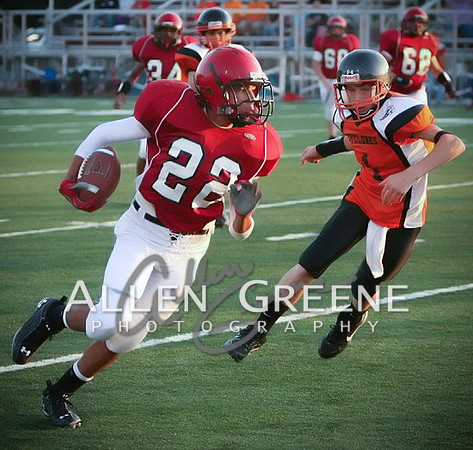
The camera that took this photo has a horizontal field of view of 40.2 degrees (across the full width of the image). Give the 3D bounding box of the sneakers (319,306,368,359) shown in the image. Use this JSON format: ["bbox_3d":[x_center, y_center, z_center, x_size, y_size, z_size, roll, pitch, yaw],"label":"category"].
[{"bbox_3d":[0.549,0.548,3.268,0.343,0.123,0.102,-34,70,-18],"label":"sneakers"}]

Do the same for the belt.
[{"bbox_3d":[-0.276,-0.070,2.592,0.180,0.183,0.042,-22,76,-39],"label":"belt"}]

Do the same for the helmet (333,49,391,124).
[{"bbox_3d":[0.577,-0.649,3.001,0.263,0.336,0.219,18,16,25],"label":"helmet"}]

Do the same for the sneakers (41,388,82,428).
[{"bbox_3d":[-0.690,0.718,2.571,0.261,0.081,0.094,11,12,38],"label":"sneakers"}]

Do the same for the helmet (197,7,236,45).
[{"bbox_3d":[-0.193,-1.811,5.970,0.498,0.317,0.423,-4,35,-5],"label":"helmet"}]

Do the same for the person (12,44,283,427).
[{"bbox_3d":[-0.330,0.007,2.677,0.835,1.571,0.506,-2,22,-44],"label":"person"}]

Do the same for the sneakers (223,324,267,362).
[{"bbox_3d":[0.046,0.535,3.002,0.092,0.128,0.288,55,27,13],"label":"sneakers"}]

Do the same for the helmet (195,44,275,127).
[{"bbox_3d":[-0.008,-0.587,2.656,0.365,0.194,0.236,8,12,18],"label":"helmet"}]
